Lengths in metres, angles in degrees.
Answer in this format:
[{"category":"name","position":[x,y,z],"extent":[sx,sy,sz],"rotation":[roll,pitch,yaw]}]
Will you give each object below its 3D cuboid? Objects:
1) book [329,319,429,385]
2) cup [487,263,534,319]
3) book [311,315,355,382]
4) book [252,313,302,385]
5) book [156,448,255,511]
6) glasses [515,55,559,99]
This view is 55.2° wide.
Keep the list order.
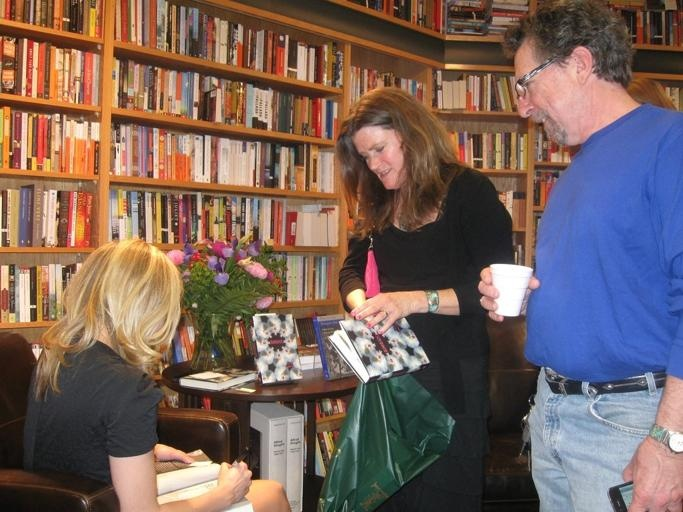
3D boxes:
[{"category":"book","position":[0.132,0.302,2.133],"extent":[0.292,0.082,0.293],"rotation":[8,34,-20]},{"category":"cup","position":[0.488,0.093,1.894],"extent":[0.143,0.154,0.147],"rotation":[-1,4,0]},{"category":"book","position":[-0.051,0.413,2.951],"extent":[0.071,0.290,0.297],"rotation":[-9,-1,21]},{"category":"book","position":[-0.291,0.408,2.885],"extent":[0.214,0.289,0.068],"rotation":[4,-24,-28]},{"category":"book","position":[-0.494,0.769,2.246],"extent":[0.231,0.057,0.243],"rotation":[-2,27,-42]},{"category":"glasses","position":[0.559,-0.518,1.894],"extent":[0.099,0.030,0.079],"rotation":[-37,-8,2]}]
